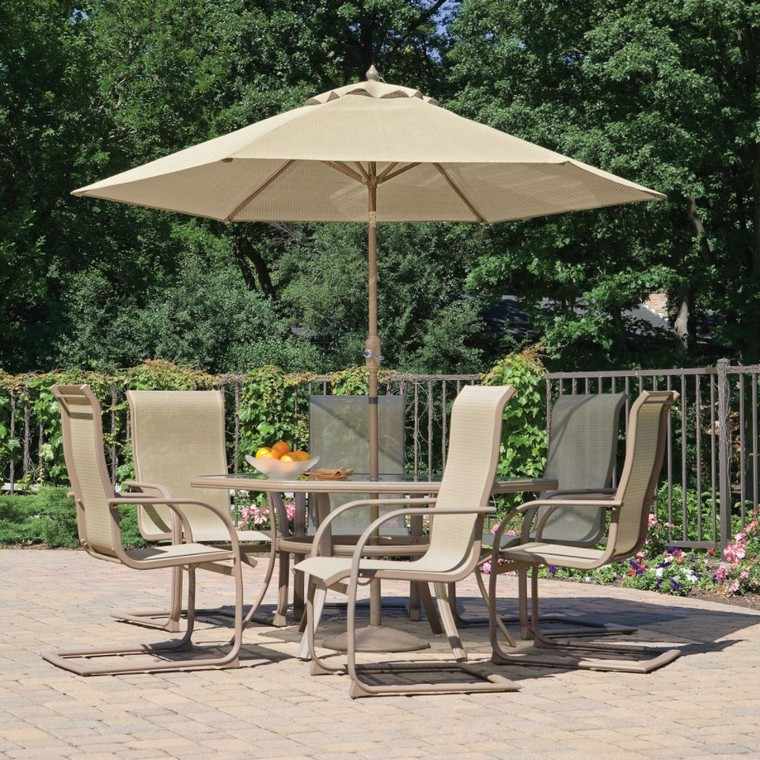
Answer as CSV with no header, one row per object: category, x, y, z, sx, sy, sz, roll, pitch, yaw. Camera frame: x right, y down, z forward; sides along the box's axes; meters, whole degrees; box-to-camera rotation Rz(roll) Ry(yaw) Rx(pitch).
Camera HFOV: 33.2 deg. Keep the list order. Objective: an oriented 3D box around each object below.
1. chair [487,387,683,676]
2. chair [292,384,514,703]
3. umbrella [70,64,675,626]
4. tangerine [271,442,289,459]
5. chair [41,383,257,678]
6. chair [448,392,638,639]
chair,0.960,0.764,6.079,0.905,1.230,1.180,-2,-1,4
chair,0.116,0.734,5.620,0.969,1.227,1.018,-2,-1,-9
umbrella,-0.015,-0.139,6.774,3.101,1.893,2.878,1,1,-10
tangerine,-0.493,0.410,6.287,0.084,0.074,0.090,12,28,0
chair,-1.074,0.727,5.878,0.922,1.051,0.790,-1,-1,-29
chair,0.942,0.813,6.616,1.028,1.262,0.769,8,-2,12
